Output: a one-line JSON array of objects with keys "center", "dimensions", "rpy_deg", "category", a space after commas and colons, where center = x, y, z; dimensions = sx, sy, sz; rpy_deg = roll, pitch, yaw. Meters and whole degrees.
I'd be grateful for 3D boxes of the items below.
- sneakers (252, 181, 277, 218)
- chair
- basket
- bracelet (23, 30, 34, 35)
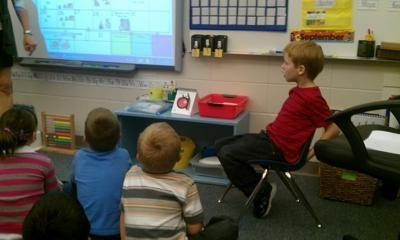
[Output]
[{"center": [0.585, 0.733, 2.790], "dimensions": [0.182, 0.397, 0.148], "rpy_deg": [-17, 50, -24], "category": "sneakers"}, {"center": [0.616, 0.528, 3.158], "dimensions": [0.935, 1.113, 0.760], "rpy_deg": [6, -1, 2], "category": "chair"}, {"center": [1.496, 0.554, 3.126], "dimensions": [0.532, 0.347, 0.520], "rpy_deg": [4, 5, 17], "category": "basket"}, {"center": [-2.046, -1.047, 3.553], "dimensions": [0.090, 0.054, 0.080], "rpy_deg": [0, 0, -29], "category": "bracelet"}]
